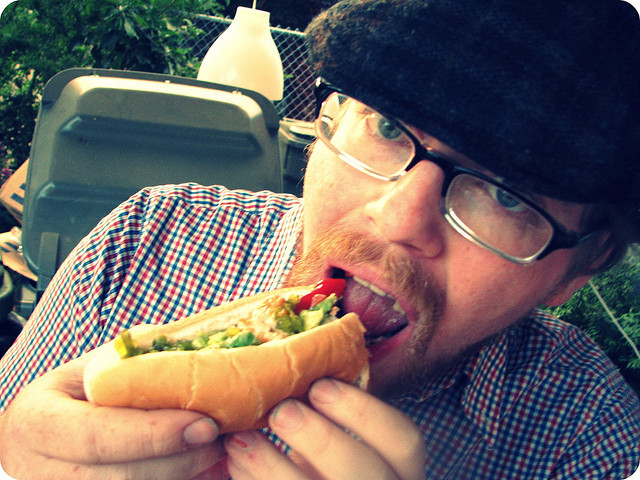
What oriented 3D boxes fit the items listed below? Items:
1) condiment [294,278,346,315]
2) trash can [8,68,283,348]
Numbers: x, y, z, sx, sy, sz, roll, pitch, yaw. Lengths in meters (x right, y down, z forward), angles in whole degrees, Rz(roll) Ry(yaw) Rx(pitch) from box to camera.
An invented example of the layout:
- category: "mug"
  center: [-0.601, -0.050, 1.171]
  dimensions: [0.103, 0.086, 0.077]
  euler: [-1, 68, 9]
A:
- category: "condiment"
  center: [0.000, 0.234, 2.693]
  dimensions: [0.238, 0.077, 0.119]
  euler: [-39, 24, -16]
- category: "trash can"
  center: [-1.136, -0.478, 4.474]
  dimensions: [1.908, 1.742, 2.133]
  euler: [7, 46, -2]
